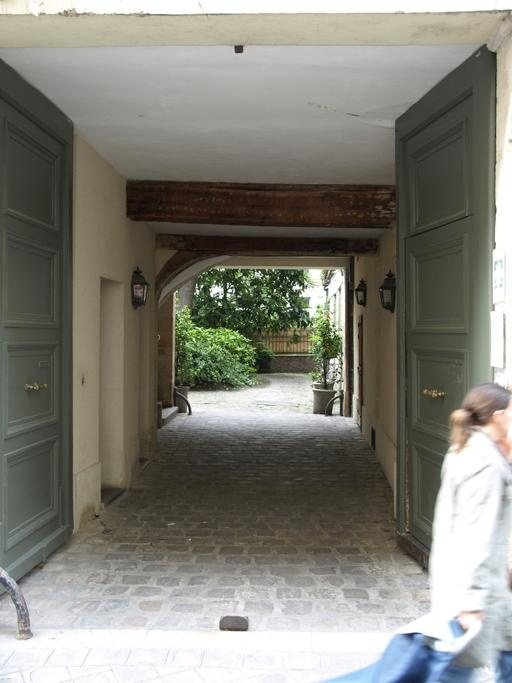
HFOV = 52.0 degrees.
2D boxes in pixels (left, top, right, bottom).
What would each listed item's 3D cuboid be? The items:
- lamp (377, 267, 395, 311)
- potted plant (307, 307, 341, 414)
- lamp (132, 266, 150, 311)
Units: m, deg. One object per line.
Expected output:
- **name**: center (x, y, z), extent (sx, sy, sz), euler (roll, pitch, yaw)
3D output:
- **lamp**: center (1.632, -0.614, 6.468), extent (0.163, 0.520, 0.418), euler (1, 0, 12)
- **potted plant**: center (1.726, 0.462, 12.892), extent (0.791, 2.564, 1.594), euler (1, 0, 7)
- **lamp**: center (-1.435, -0.645, 6.420), extent (0.182, 0.492, 0.603), euler (1, 0, -13)
